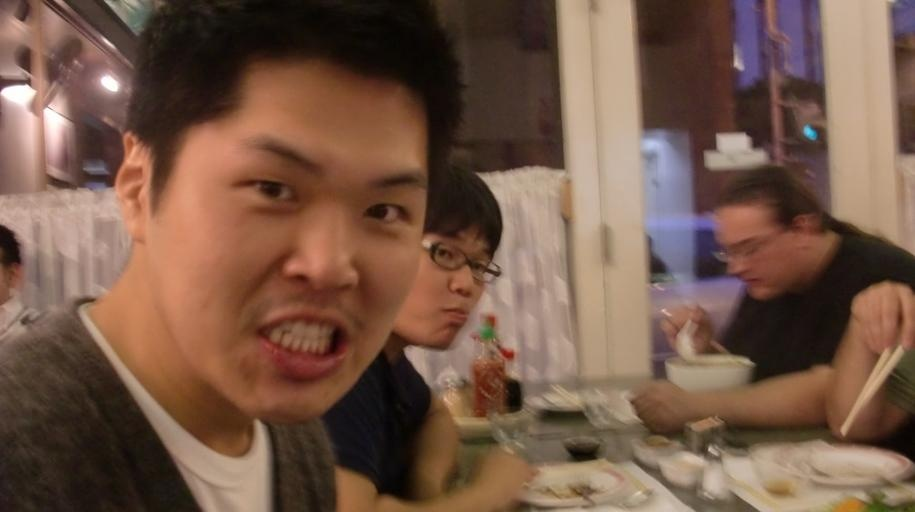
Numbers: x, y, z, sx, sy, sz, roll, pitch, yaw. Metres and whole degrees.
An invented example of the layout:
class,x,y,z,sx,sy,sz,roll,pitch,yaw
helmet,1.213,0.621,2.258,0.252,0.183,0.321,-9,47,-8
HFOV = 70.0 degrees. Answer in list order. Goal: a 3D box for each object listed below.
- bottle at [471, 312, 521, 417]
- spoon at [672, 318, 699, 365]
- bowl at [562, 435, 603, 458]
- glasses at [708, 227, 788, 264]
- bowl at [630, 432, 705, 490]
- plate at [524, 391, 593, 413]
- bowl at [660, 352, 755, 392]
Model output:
class,x,y,z,sx,sy,sz,roll,pitch,yaw
bottle,0.098,0.277,1.649,0.105,0.304,0.083,2,0,-12
spoon,0.705,0.263,2.003,0.083,0.101,0.032,30,-21,-35
bowl,0.313,0.469,1.621,0.080,0.037,0.078,-3,6,0
glasses,0.860,-0.015,1.953,0.179,0.130,0.105,0,-2,-3
bowl,0.515,0.487,1.566,0.109,0.063,0.178,-7,7,-28
plate,0.278,0.409,1.851,0.166,0.041,0.078,-3,6,-1
bowl,0.724,0.328,1.905,0.253,0.067,0.176,-5,7,-19
